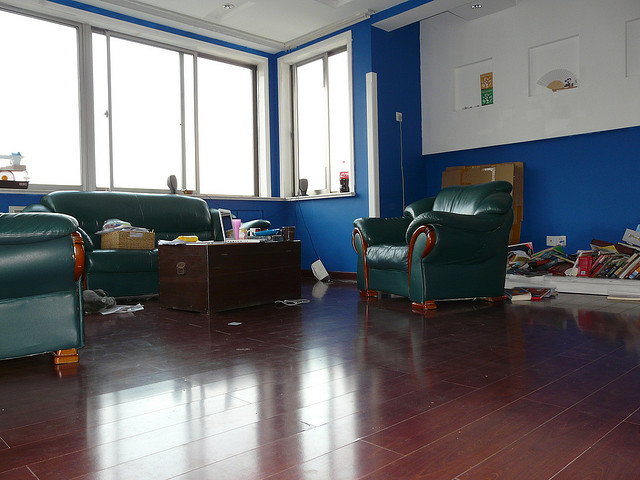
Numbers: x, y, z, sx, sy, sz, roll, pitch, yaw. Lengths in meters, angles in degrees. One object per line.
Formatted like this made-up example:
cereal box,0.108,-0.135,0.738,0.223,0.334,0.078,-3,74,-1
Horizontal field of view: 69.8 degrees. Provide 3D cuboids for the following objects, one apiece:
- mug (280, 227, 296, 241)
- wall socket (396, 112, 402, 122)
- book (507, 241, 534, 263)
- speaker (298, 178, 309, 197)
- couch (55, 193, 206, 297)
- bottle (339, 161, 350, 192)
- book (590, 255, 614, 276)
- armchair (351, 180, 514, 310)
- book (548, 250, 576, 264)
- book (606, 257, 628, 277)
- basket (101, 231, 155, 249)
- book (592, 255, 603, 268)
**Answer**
mug,-0.304,-0.063,4.364,0.139,0.096,0.106,0,-1,0
wall socket,1.072,-1.670,6.220,0.152,0.157,0.018,-3,4,-40
book,2.395,0.125,5.478,0.349,0.129,0.472,-4,7,35
speaker,-0.243,-0.762,6.701,0.157,0.259,0.268,-1,3,-2
couch,-1.960,-0.131,4.848,1.004,1.028,1.754,3,4,45
bottle,0.336,-0.879,6.330,0.138,0.443,0.329,-1,3,2
book,2.744,0.224,4.497,0.083,0.296,0.069,23,23,-9
armchair,1.102,0.008,4.429,1.175,1.077,1.412,-2,1,-19
book,2.561,0.171,4.865,0.127,0.124,0.128,18,12,-37
book,2.808,0.258,4.406,0.071,0.291,0.117,43,14,20
basket,-1.928,0.001,4.546,0.520,0.187,0.278,-2,3,-12
book,2.741,0.200,4.537,0.208,0.029,0.024,-40,-10,-13
